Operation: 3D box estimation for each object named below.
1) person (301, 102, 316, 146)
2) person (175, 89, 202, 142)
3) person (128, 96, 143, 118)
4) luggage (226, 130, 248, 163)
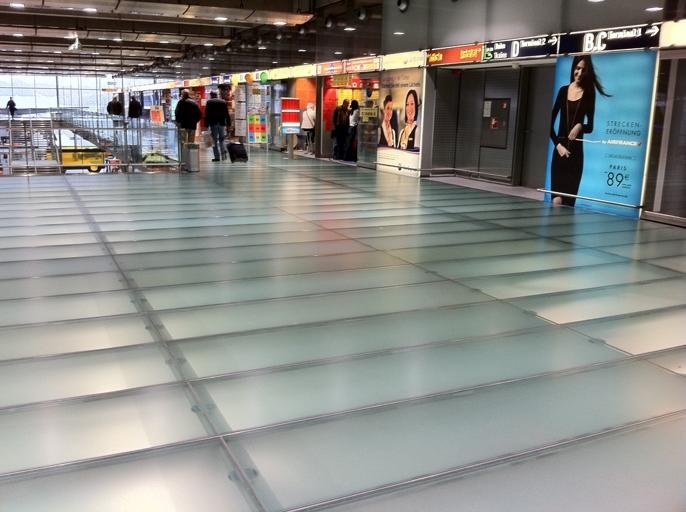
[{"bbox_3d":[-1.348,-5.024,17.595,0.563,1.784,1.011,-1,19,-3],"label":"person"},{"bbox_3d":[-4.575,-4.033,13.070,0.594,1.429,0.958,0,19,1],"label":"person"},{"bbox_3d":[-9.135,-6.498,19.679,0.488,0.894,1.688,-8,21,-24],"label":"person"},{"bbox_3d":[-3.569,-3.463,14.588,0.929,0.926,0.611,-1,8,43],"label":"luggage"}]
